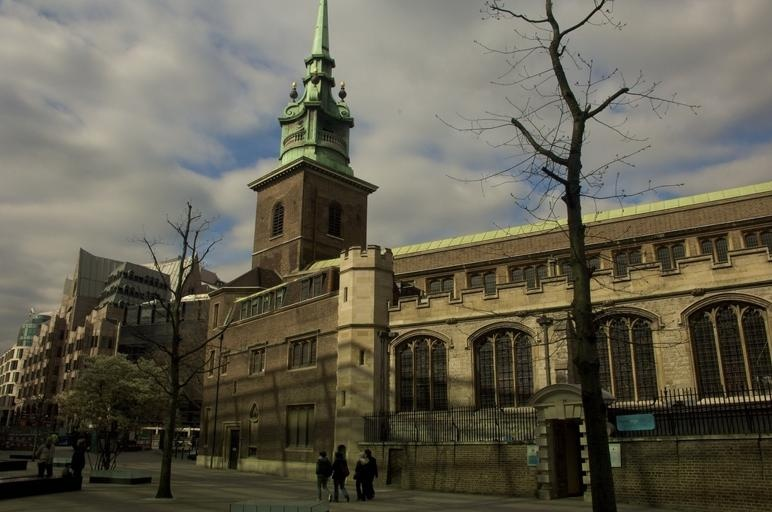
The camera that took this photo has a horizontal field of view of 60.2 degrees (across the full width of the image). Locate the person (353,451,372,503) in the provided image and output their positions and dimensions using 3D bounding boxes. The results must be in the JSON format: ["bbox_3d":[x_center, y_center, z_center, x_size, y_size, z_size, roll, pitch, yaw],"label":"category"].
[{"bbox_3d":[-1.022,10.361,31.294,0.784,2.195,1.082,0,-22,-1],"label":"person"}]
